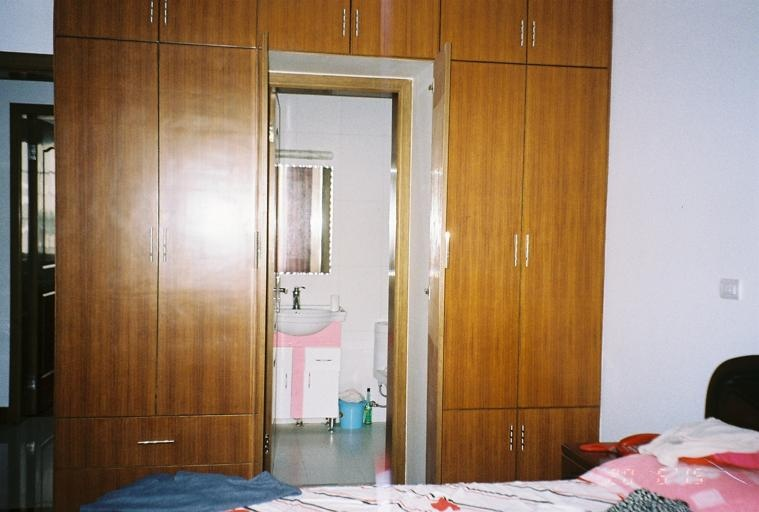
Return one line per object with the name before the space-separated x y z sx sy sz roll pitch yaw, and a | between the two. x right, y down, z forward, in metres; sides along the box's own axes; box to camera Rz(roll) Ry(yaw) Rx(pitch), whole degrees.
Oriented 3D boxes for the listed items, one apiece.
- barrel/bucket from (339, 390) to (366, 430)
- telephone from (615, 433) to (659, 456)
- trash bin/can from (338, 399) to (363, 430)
barrel/bucket | -0.251 1.295 6.441 0.256 0.279 0.276 0 2 0
telephone | 1.470 1.068 4.345 0.180 0.039 0.145 -13 31 0
trash bin/can | -0.235 1.327 6.385 0.227 0.202 0.214 -1 -2 8
